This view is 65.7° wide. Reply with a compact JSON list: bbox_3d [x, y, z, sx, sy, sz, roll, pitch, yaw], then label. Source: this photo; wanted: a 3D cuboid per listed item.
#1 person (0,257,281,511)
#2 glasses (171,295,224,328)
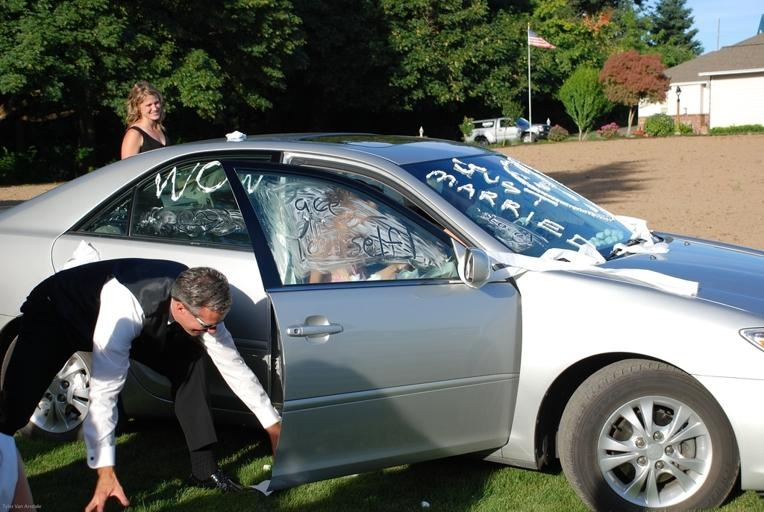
[{"bbox_3d":[-1.434,0.535,3.703,1.874,1.314,1.108,10,8,19],"label":"person"},{"bbox_3d":[-0.987,0.305,3.142,0.207,0.083,0.167,28,3,19],"label":"glasses"}]
